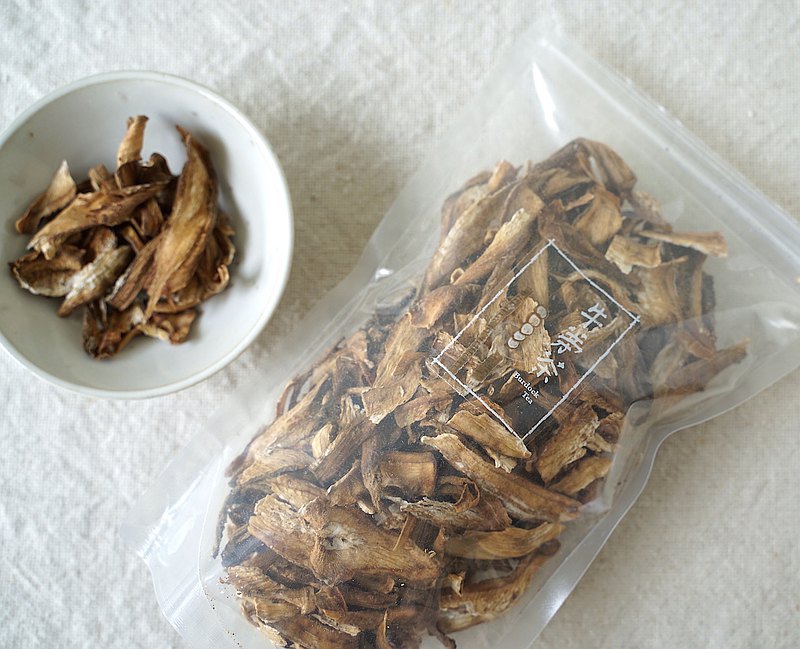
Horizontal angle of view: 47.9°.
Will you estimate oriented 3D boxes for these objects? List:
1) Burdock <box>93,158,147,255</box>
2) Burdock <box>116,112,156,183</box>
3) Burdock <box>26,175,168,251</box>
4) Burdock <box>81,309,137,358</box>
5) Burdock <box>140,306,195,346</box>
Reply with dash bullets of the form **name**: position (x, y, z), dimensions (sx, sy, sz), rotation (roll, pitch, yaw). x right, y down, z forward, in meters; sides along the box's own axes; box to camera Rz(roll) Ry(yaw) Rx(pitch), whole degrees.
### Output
- **Burdock**: position (-0.379, -0.155, 1.268), dimensions (0.059, 0.083, 0.278), rotation (-15, -5, -19)
- **Burdock**: position (-0.366, -0.238, 1.226), dimensions (0.040, 0.033, 0.114), rotation (-2, -45, -23)
- **Burdock**: position (-0.410, -0.145, 1.247), dimensions (0.188, 0.080, 0.053), rotation (-19, -15, -2)
- **Burdock**: position (-0.394, 0.012, 1.222), dimensions (0.058, 0.069, 0.026), rotation (-22, -5, -7)
- **Burdock**: position (-0.313, 0.000, 1.227), dimensions (0.046, 0.056, 0.019), rotation (13, -16, -1)
